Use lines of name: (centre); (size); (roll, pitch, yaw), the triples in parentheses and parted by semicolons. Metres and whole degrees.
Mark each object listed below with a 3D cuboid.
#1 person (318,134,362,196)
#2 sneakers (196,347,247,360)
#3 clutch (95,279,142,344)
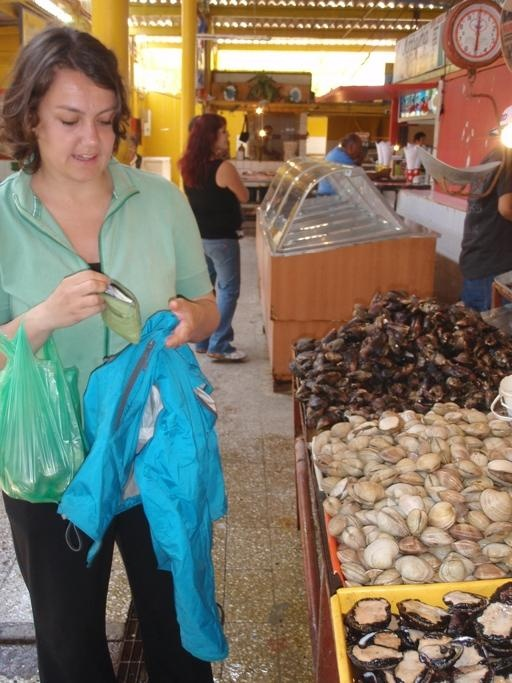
person: (0.967, -1.892, 6.295); (0.338, 0.989, 0.290); (-8, 56, -9)
sneakers: (-0.291, 0.125, 4.826); (0.430, 0.163, 0.147); (-1, 6, -2)
clutch: (-0.290, -0.060, 1.162); (0.051, 0.109, 0.134); (-48, -4, -27)
